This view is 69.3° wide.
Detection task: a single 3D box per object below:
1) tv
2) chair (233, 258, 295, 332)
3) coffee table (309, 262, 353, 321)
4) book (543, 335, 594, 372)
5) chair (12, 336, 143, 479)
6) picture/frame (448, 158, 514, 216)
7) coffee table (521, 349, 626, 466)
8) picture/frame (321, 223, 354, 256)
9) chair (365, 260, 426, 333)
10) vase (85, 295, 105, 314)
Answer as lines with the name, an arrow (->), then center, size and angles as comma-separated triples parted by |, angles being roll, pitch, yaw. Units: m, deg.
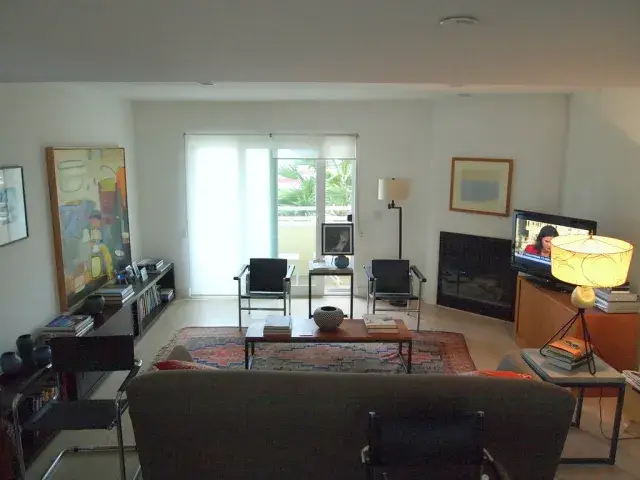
tv -> 2.344, 0.106, 4.636 | 0.243, 0.626, 0.872 | -4, 14, -16
chair -> -0.671, 0.672, 5.786 | 0.735, 0.762, 0.669 | 0, 9, -5
coffee table -> 0.158, 0.727, 6.065 | 0.610, 0.599, 0.485 | -1, -10, 2
book -> 1.936, 0.892, 3.628 | 0.206, 0.091, 0.284 | 4, 11, 42
chair -> -1.771, 1.206, 3.521 | 0.838, 1.013, 0.985 | -1, 10, -11
picture/frame -> 2.114, -0.696, 5.990 | 0.769, 0.703, 0.029 | 8, 10, 44
coffee table -> 1.977, 1.400, 3.733 | 0.550, 0.633, 0.724 | 14, -19, 5
picture/frame -> 0.233, -0.009, 6.246 | 0.450, 0.436, 0.032 | 0, 2, -6
chair -> 0.916, 0.674, 5.810 | 0.729, 0.760, 0.677 | 1, 6, -11
vase -> -2.293, 0.648, 4.764 | 0.171, 0.138, 0.169 | 2, 13, 2
